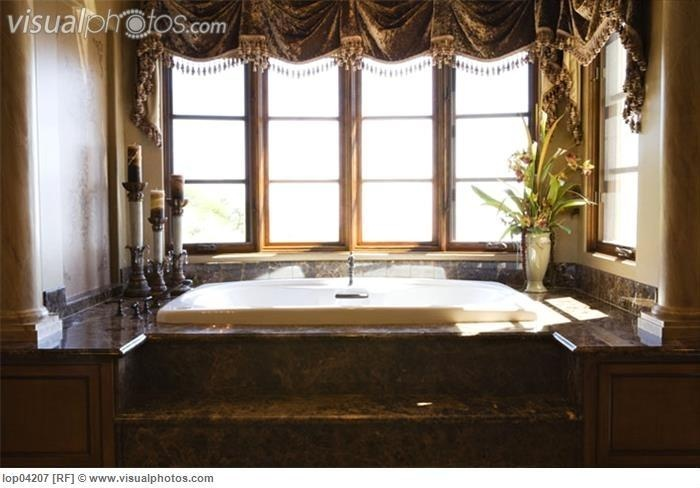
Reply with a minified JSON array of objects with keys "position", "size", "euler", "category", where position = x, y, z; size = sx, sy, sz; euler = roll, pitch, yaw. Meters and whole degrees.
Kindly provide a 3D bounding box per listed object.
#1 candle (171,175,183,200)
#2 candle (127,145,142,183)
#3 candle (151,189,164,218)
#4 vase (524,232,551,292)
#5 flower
[{"position":[-1.117,-0.369,3.727],"size":[0.075,0.147,0.060],"euler":[-7,13,-32],"category":"candle"},{"position":[-1.340,-0.494,3.574],"size":[0.093,0.227,0.098],"euler":[3,8,21],"category":"candle"},{"position":[-1.234,-0.262,3.696],"size":[0.051,0.158,0.083],"euler":[3,11,15],"category":"candle"},{"position":[1.247,0.112,3.811],"size":[0.186,0.404,0.143],"euler":[1,11,6],"category":"vase"},{"position":[1.253,-0.504,4.183],"size":[0.807,0.868,0.722],"euler":[2,3,10],"category":"flower"}]
